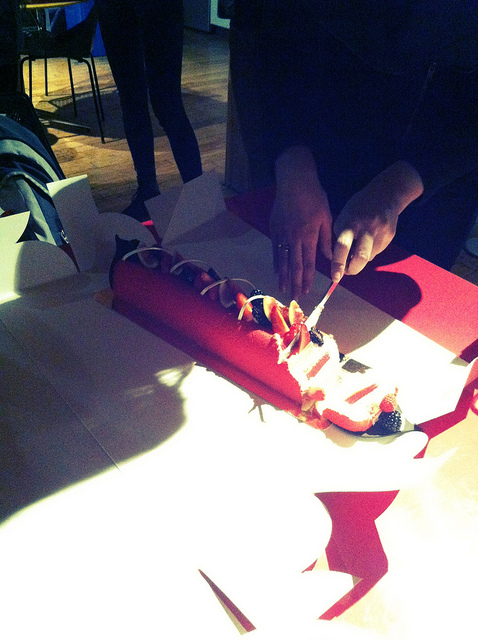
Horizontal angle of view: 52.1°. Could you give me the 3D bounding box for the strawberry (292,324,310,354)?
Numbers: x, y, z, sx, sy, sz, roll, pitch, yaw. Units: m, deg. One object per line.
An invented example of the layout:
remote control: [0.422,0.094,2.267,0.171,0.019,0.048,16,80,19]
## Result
strawberry: [0.075,0.020,0.586,0.021,0.005,0.032,41,83,-36]

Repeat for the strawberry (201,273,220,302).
strawberry: [-0.043,-0.050,0.665,0.015,0.014,0.053,-1,51,-33]

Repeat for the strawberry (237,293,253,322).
strawberry: [0.006,-0.018,0.617,0.017,0.010,0.035,0,69,-63]

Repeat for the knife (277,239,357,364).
knife: [0.104,-0.024,0.661,0.015,0.026,0.188,32,71,-10]

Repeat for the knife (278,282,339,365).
knife: [0.088,0.005,0.628,0.020,0.007,0.148,48,49,-17]

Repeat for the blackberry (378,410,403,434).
blackberry: [0.159,0.107,0.517,0.024,0.008,0.029,11,43,4]

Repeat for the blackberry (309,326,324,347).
blackberry: [0.094,0.019,0.598,0.020,0.012,0.021,22,44,15]

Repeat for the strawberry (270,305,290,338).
strawberry: [0.048,0.002,0.596,0.014,0.014,0.043,-15,71,-9]

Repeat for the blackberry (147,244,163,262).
blackberry: [-0.119,-0.093,0.688,0.023,0.011,0.014,-9,44,-18]

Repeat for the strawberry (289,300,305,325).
strawberry: [0.071,-0.009,0.613,0.021,0.008,0.029,28,51,-44]
